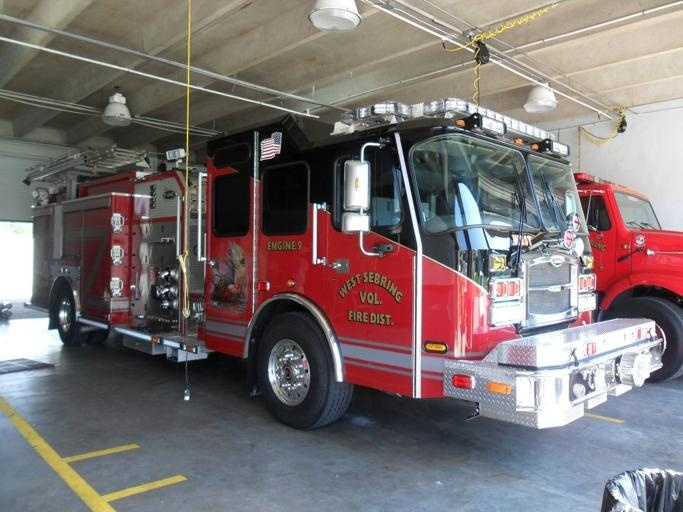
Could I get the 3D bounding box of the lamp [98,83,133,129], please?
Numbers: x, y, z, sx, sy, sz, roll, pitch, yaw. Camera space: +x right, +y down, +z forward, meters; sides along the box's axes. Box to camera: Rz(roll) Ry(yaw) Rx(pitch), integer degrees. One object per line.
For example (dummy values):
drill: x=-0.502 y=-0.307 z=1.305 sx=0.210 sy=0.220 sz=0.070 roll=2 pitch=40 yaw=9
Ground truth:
lamp: x=-5.168 y=-3.452 z=12.650 sx=0.529 sy=0.818 sz=0.565 roll=-2 pitch=4 yaw=19

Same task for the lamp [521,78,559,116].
lamp: x=4.363 y=-3.491 z=12.081 sx=0.670 sy=0.720 sz=0.677 roll=1 pitch=-7 yaw=5
